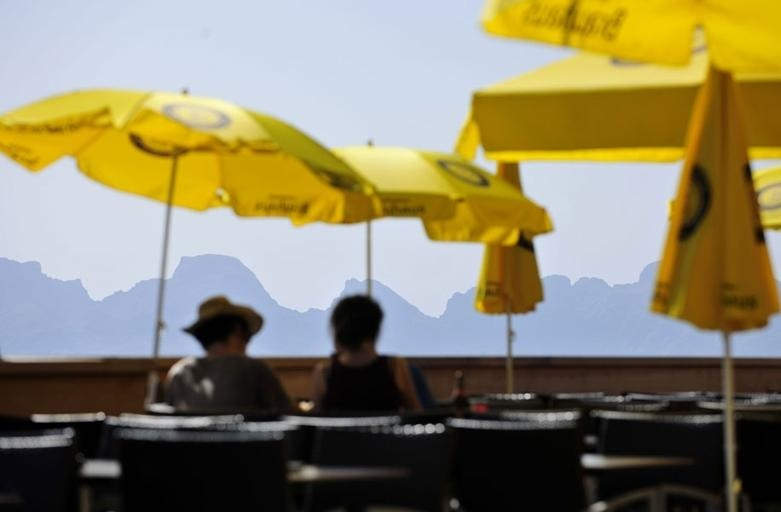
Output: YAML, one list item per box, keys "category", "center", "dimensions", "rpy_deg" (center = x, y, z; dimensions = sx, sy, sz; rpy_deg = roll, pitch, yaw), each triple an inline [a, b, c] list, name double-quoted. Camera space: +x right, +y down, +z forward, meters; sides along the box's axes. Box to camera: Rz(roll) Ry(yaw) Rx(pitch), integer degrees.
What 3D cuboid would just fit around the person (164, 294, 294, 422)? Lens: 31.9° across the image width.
- category: "person"
  center: [-1.263, 0.793, 10.000]
  dimensions: [1.069, 0.961, 0.697]
  rpy_deg: [-4, -12, 12]
